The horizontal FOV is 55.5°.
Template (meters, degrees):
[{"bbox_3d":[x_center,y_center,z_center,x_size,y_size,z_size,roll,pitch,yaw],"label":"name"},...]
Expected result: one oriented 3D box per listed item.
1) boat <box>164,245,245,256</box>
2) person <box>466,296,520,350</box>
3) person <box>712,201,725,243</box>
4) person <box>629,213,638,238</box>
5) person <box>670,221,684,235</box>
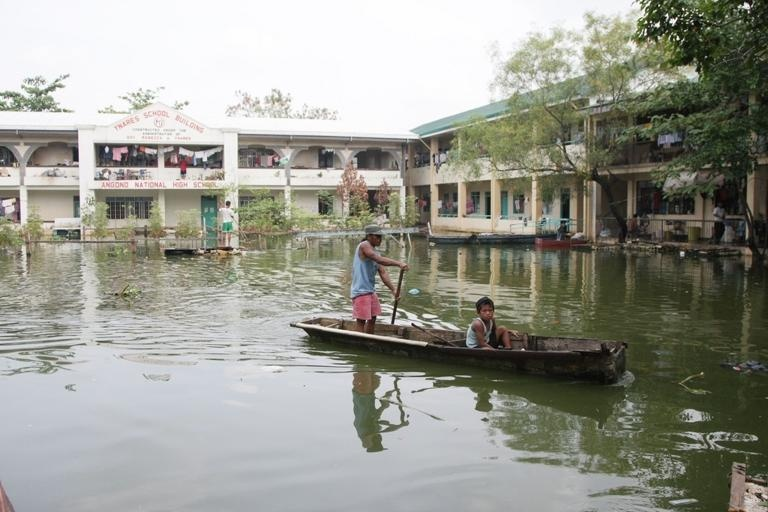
[{"bbox_3d":[-6.740,-0.147,27.316,2.883,0.389,1.170,1,-1,-14],"label":"boat"},{"bbox_3d":[1.909,1.229,12.455,0.721,1.021,1.046,-5,6,-41],"label":"person"},{"bbox_3d":[12.852,-1.288,28.057,0.403,1.142,1.104,1,0,25],"label":"person"},{"bbox_3d":[10.563,-1.200,31.133,0.431,0.690,1.170,1,0,18],"label":"person"},{"bbox_3d":[11.943,-1.144,29.608,0.375,0.412,0.963,1,-1,6],"label":"person"}]
